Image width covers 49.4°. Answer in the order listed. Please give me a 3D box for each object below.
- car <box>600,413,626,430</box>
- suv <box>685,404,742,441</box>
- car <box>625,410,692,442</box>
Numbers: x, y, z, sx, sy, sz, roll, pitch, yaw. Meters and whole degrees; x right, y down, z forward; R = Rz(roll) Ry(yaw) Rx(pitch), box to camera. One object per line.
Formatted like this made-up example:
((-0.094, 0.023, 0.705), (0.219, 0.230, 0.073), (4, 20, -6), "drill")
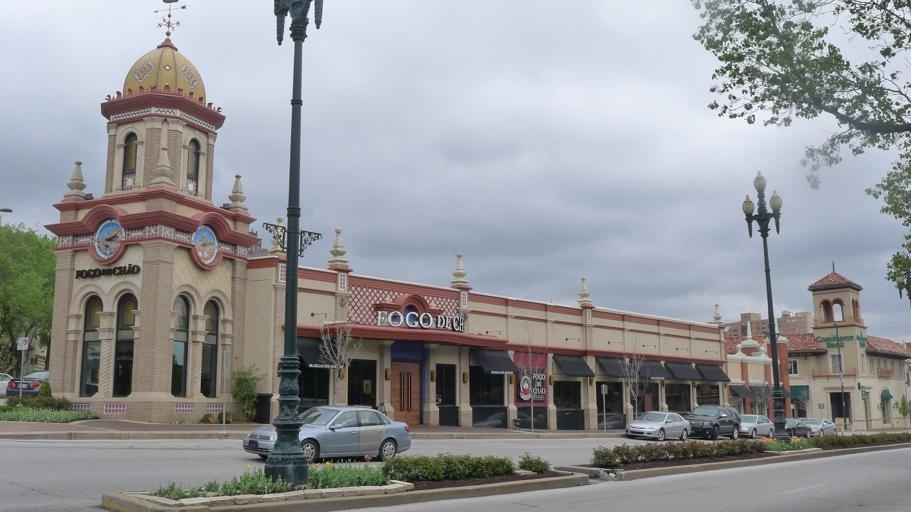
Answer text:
((11.592, 12.316, 73.578), (2.545, 0.806, 1.025), (7, -12, -37), "car")
((16.877, 10.932, 65.257), (3.929, 2.100, 1.979), (7, -5, -35), "suv")
((12.958, 10.781, 62.506), (3.470, 1.184, 1.778), (13, -18, -33), "car")
